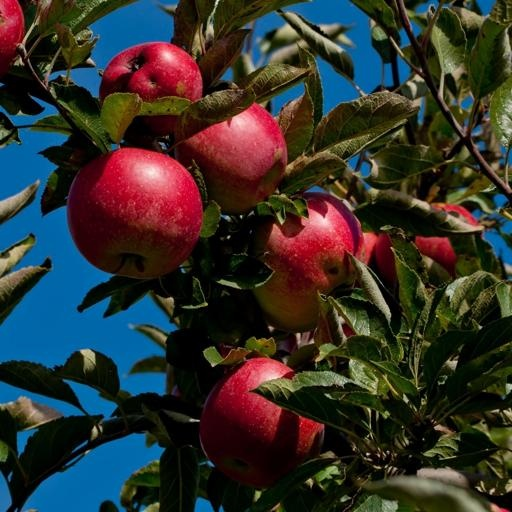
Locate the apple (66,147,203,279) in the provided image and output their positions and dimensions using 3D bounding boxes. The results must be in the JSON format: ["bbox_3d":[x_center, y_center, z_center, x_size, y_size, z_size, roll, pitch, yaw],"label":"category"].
[{"bbox_3d":[-0.281,-0.076,2.049,0.309,0.258,0.309,-15,-2,45],"label":"apple"}]

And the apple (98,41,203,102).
[{"bbox_3d":[-0.236,-0.408,2.068,0.241,0.172,0.182,-4,-10,-8],"label":"apple"}]

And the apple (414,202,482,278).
[{"bbox_3d":[0.570,-0.018,2.916,0.261,0.216,0.286,12,-5,11],"label":"apple"}]
